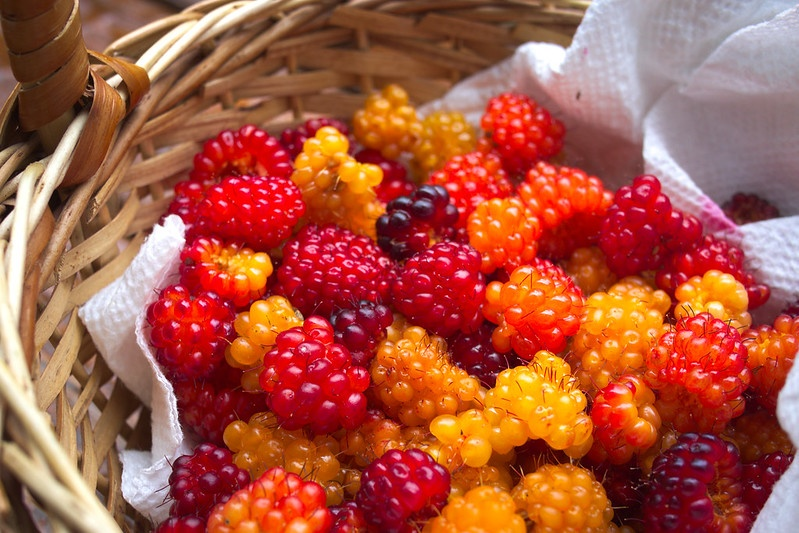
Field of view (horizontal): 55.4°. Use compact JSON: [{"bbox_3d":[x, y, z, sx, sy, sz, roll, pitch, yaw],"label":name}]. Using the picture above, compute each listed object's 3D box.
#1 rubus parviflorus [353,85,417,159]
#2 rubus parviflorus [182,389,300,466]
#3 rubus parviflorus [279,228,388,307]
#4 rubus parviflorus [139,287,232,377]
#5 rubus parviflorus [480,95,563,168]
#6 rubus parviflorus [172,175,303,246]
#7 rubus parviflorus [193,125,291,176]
[{"bbox_3d":[-0.020,-0.222,1.230,0.084,0.062,0.117,27,96,0],"label":"rubus parviflorus"},{"bbox_3d":[-0.225,0.192,1.000,0.097,0.087,0.047,20,103,26],"label":"rubus parviflorus"},{"bbox_3d":[-0.084,0.006,1.031,0.154,0.059,0.121,13,56,6],"label":"rubus parviflorus"},{"bbox_3d":[-0.262,0.082,0.966,0.104,0.111,0.117,1,87,2],"label":"rubus parviflorus"},{"bbox_3d":[0.193,-0.194,1.176,0.120,0.096,0.082,-30,61,25],"label":"rubus parviflorus"},{"bbox_3d":[-0.204,-0.072,1.023,0.133,0.085,0.076,-3,58,-2],"label":"rubus parviflorus"},{"bbox_3d":[-0.245,-0.163,1.143,0.113,0.109,0.047,-5,78,32],"label":"rubus parviflorus"}]
